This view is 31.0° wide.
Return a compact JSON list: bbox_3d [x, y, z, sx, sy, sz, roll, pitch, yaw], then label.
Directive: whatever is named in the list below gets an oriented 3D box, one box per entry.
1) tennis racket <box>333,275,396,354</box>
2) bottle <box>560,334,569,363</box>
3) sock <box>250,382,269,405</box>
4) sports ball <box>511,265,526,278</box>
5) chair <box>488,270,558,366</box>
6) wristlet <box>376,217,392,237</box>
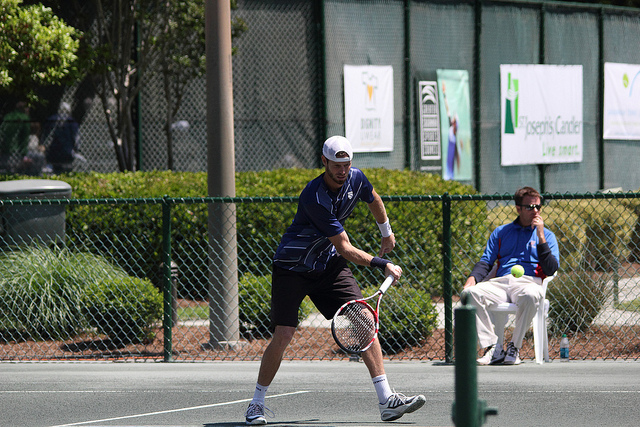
[{"bbox_3d":[0.702,1.414,17.455,0.106,0.646,1.536,13,40,21],"label":"tennis racket"},{"bbox_3d":[4.154,2.234,19.537,0.145,0.425,0.316,-1,4,13],"label":"bottle"},{"bbox_3d":[-0.909,2.678,17.489,0.255,0.356,0.189,-2,4,-4],"label":"sock"},{"bbox_3d":[3.323,0.914,19.173,0.181,0.191,0.174,1,35,-1],"label":"sports ball"},{"bbox_3d":[3.530,1.786,19.904,1.146,2.013,1.222,1,-3,12],"label":"chair"},{"bbox_3d":[1.036,0.193,18.161,0.209,0.248,0.166,-7,25,32],"label":"wristlet"}]
